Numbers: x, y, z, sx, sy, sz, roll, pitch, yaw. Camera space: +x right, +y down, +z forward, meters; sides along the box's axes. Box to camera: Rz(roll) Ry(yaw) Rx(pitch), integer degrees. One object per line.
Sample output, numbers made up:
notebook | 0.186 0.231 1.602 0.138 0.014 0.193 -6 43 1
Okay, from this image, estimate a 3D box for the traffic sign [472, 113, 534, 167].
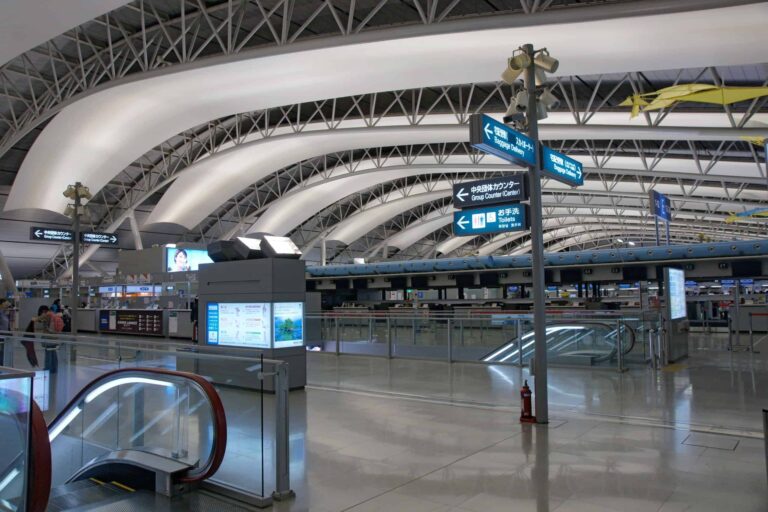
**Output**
traffic sign | 2.794 -2.688 13.264 1.688 1.086 0.437 2 -7 -32
